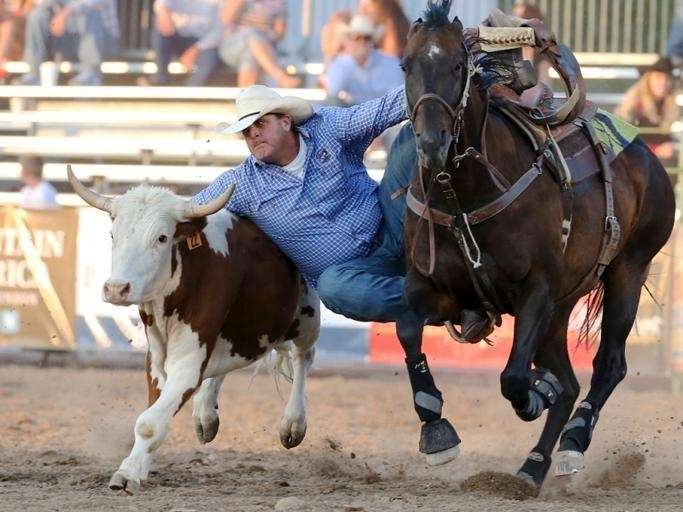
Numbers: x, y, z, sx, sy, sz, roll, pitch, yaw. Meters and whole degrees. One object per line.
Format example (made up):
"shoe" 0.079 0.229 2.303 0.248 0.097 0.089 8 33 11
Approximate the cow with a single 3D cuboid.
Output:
"cow" -1.297 0.595 13.389 1.210 2.406 3.512 1 11 6

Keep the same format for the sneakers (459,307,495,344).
"sneakers" 1.177 0.592 13.137 0.243 0.118 0.340 -37 -6 25

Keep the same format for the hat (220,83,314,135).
"hat" -0.665 -1.332 13.761 0.827 0.422 0.280 0 9 -5
